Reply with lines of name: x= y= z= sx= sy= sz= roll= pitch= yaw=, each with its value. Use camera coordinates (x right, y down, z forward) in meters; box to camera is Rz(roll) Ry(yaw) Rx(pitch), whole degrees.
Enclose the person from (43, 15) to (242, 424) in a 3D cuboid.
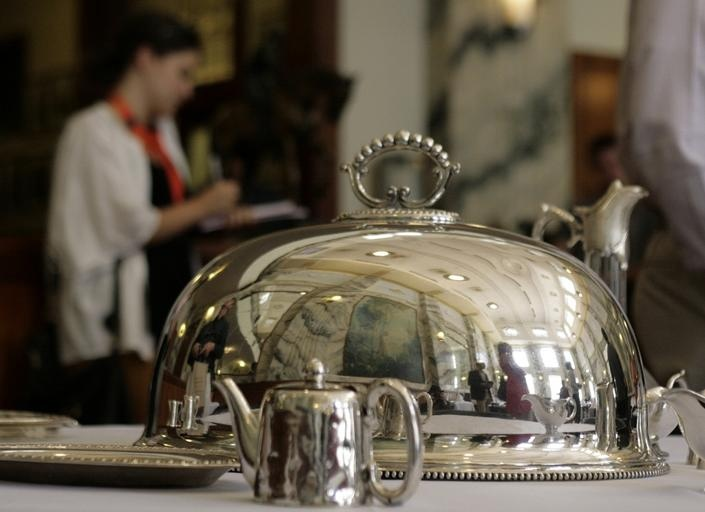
person: x=-0.625 y=-0.113 z=3.360 sx=0.367 sy=1.202 sz=0.434 roll=9 pitch=4 yaw=34
